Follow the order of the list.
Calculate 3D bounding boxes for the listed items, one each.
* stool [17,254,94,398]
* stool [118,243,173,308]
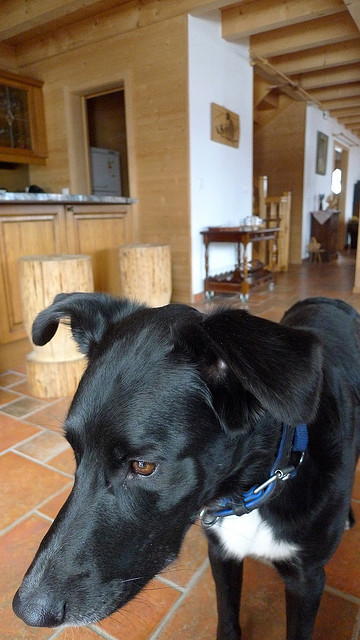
[{"bbox_3d":[-0.662,0.025,2.532,0.384,0.733,0.402,4,12,27],"label":"stool"},{"bbox_3d":[-0.264,-0.387,3.638,0.392,0.452,0.354,-2,17,-6],"label":"stool"}]
